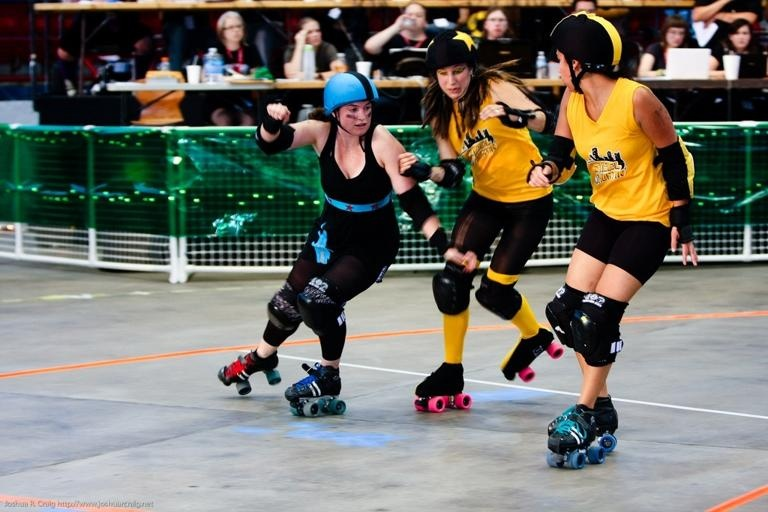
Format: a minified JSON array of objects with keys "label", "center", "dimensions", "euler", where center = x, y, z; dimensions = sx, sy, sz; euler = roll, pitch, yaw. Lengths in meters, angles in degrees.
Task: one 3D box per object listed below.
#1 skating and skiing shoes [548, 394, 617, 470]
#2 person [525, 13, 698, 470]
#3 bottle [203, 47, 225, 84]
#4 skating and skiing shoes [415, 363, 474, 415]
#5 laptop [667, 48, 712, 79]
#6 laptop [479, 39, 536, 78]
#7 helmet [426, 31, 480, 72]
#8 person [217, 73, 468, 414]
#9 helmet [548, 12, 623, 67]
[{"label":"skating and skiing shoes","center":[1.007,0.900,4.369],"dimensions":[0.188,0.271,0.568],"euler":[-5,-2,33]},{"label":"person","center":[1.164,-0.114,4.481],"dimensions":[0.848,2.226,0.703],"euler":[-4,12,-13]},{"label":"bottle","center":[-1.901,-2.117,9.665],"dimensions":[0.232,0.392,0.496],"euler":[-3,11,-11]},{"label":"skating and skiing shoes","center":[0.339,0.780,5.227],"dimensions":[0.386,0.240,0.221],"euler":[4,-1,-41]},{"label":"laptop","center":[3.359,-2.107,9.545],"dimensions":[0.543,0.330,0.356],"euler":[-1,-8,7]},{"label":"laptop","center":[1.314,-2.287,10.162],"dimensions":[0.795,0.440,0.482],"euler":[-7,11,-20]},{"label":"helmet","center":[0.390,-1.225,5.053],"dimensions":[0.301,0.193,0.279],"euler":[-6,10,10]},{"label":"person","center":[-0.278,-0.071,5.069],"dimensions":[1.311,1.953,0.577],"euler":[-3,12,-9]},{"label":"helmet","center":[1.032,-1.072,4.434],"dimensions":[0.276,0.168,0.332],"euler":[-1,34,-34]}]
